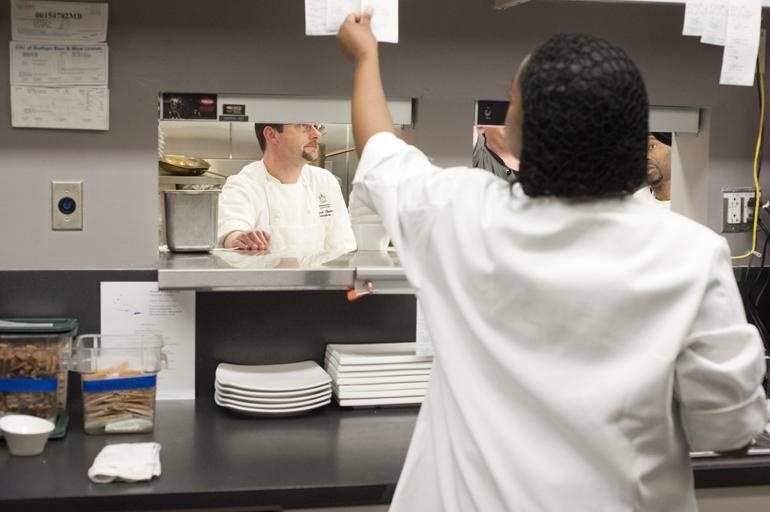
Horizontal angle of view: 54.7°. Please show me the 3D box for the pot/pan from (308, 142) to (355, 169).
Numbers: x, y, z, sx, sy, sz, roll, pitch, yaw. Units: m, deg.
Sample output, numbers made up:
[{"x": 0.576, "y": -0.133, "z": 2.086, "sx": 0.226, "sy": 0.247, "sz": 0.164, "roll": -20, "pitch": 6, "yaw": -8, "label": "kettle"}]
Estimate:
[{"x": -0.195, "y": -0.380, "z": 2.789, "sx": 0.180, "sy": 0.098, "sz": 0.072, "roll": -2, "pitch": 7, "yaw": 4, "label": "pot/pan"}]

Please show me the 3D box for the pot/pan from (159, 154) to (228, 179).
[{"x": -0.734, "y": -0.320, "z": 2.679, "sx": 0.070, "sy": 0.082, "sz": 0.246, "roll": 0, "pitch": 6, "yaw": 18, "label": "pot/pan"}]

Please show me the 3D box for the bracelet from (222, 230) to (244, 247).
[{"x": -0.546, "y": -0.050, "z": 2.659, "sx": 0.059, "sy": 0.024, "sz": 0.060, "roll": -32, "pitch": 14, "yaw": 26, "label": "bracelet"}]

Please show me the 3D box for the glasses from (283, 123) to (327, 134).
[{"x": -0.301, "y": -0.468, "z": 2.770, "sx": 0.148, "sy": 0.037, "sz": 0.021, "roll": -2, "pitch": 7, "yaw": 1, "label": "glasses"}]

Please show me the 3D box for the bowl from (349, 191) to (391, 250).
[{"x": -0.069, "y": -0.120, "z": 2.650, "sx": 0.184, "sy": 0.228, "sz": 0.190, "roll": -1, "pitch": -4, "yaw": 0, "label": "bowl"}]
